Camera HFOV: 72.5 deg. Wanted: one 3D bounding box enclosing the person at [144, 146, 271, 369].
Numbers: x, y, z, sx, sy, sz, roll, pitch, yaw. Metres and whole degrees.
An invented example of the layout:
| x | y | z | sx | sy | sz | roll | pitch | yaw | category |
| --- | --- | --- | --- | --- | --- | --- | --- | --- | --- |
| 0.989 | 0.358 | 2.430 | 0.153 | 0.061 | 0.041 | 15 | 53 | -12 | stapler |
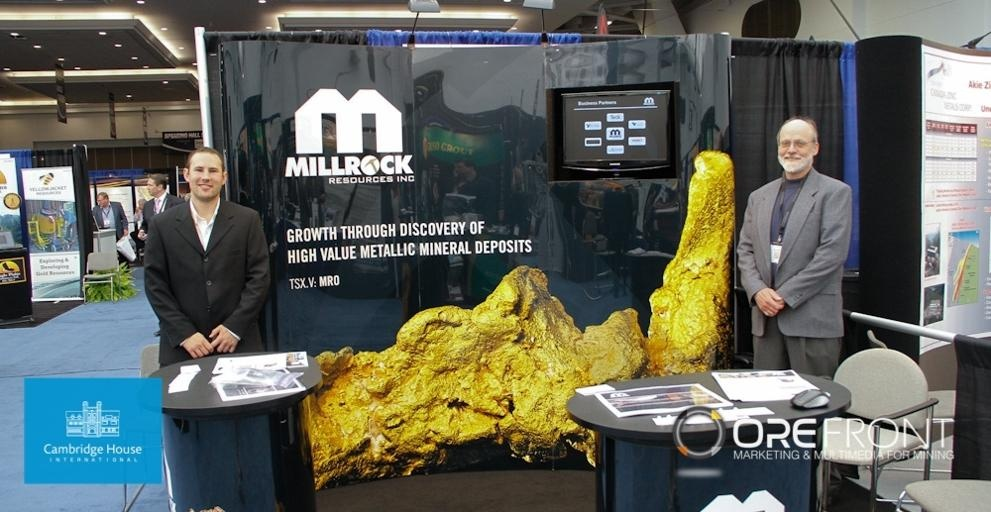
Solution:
| x | y | z | sx | sy | sz | roll | pitch | yaw | category |
| --- | --- | --- | --- | --- | --- | --- | --- | --- | --- |
| -2.539 | 0.007 | 5.910 | 1.007 | 1.864 | 0.374 | -2 | 4 | 10 | person |

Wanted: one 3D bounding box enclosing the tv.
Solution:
| x | y | z | sx | sy | sz | roll | pitch | yaw | category |
| --- | --- | --- | --- | --- | --- | --- | --- | --- | --- |
| 1.108 | -1.192 | 6.162 | 1.033 | 0.637 | 0.101 | 0 | 4 | 2 | tv |

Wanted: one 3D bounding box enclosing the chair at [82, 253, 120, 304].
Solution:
| x | y | z | sx | sy | sz | roll | pitch | yaw | category |
| --- | --- | --- | --- | --- | --- | --- | --- | --- | --- |
| -6.805 | 0.371 | 11.651 | 0.514 | 0.844 | 0.570 | -5 | 5 | -31 | chair |
